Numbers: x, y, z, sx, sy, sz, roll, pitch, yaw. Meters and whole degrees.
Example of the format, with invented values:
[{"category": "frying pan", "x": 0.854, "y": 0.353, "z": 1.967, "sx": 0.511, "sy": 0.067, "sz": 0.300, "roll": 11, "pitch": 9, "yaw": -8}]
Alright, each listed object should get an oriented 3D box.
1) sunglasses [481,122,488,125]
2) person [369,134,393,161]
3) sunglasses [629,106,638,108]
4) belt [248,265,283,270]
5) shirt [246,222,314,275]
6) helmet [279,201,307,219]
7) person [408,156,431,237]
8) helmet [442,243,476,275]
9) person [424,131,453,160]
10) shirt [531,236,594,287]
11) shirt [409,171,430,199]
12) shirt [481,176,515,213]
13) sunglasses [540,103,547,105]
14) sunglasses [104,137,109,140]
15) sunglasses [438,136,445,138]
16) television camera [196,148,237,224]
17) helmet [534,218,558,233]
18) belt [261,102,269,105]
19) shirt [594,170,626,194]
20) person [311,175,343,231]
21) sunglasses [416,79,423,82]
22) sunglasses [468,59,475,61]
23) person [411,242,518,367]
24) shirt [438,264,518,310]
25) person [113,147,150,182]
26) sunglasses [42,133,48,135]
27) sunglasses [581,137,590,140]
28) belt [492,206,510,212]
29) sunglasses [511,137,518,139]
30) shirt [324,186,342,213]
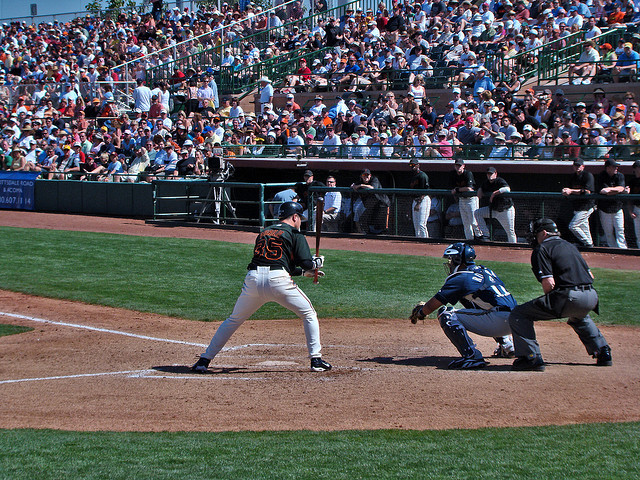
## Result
[{"category": "sunglasses", "x": 4.158, "y": -2.952, "z": 28.468, "sx": 0.152, "sy": 0.027, "sz": 0.131, "roll": 1, "pitch": 0, "yaw": -4}, {"category": "person", "x": 1.595, "y": -2.435, "z": 29.487, "sx": 0.546, "sy": 0.720, "sz": 0.547, "roll": -2, "pitch": -2, "yaw": -5}, {"category": "sunglasses", "x": 7.459, "y": -3.171, "z": 26.835, "sx": 0.158, "sy": 0.059, "sz": 0.188, "roll": -2, "pitch": -2, "yaw": 14}, {"category": "belt", "x": -0.838, "y": 0.427, "z": 17.837, "sx": 0.505, "sy": 0.071, "sz": 0.101, "roll": -1, "pitch": -2, "yaw": -2}, {"category": "shirt", "x": -0.628, "y": 0.127, "z": 17.958, "sx": 1.016, "sy": 0.832, "sz": 0.292, "roll": -2, "pitch": -2, "yaw": -1}, {"category": "helmet", "x": -0.471, "y": -0.482, "z": 18.253, "sx": 0.374, "sy": 0.282, "sz": 0.449, "roll": -1, "pitch": -2, "yaw": -4}, {"category": "person", "x": 2.473, "y": -1.027, "z": 27.466, "sx": 0.588, "sy": 1.888, "sz": 0.471, "roll": -3, "pitch": -2, "yaw": 17}, {"category": "helmet", "x": 2.322, "y": 0.301, "z": 18.396, "sx": 0.594, "sy": 0.433, "sz": 0.447, "roll": -5, "pitch": 1, "yaw": 18}, {"category": "person", "x": 3.033, "y": -2.397, "z": 28.576, "sx": 0.746, "sy": 0.733, "sz": 0.463, "roll": -2, "pitch": -2, "yaw": 22}, {"category": "shirt", "x": 3.837, "y": 0.333, "z": 17.892, "sx": 0.936, "sy": 0.805, "sz": 0.223, "roll": -1, "pitch": -2, "yaw": -7}, {"category": "shirt", "x": 2.449, "y": -1.349, "z": 27.566, "sx": 0.527, "sy": 0.690, "sz": 0.846, "roll": 5, "pitch": -2, "yaw": -8}, {"category": "shirt", "x": 4.141, "y": -1.053, "z": 26.402, "sx": 0.728, "sy": 0.813, "sz": 0.274, "roll": -4, "pitch": -2, "yaw": 43}, {"category": "sunglasses", "x": 5.517, "y": -3.375, "z": 27.928, "sx": 0.146, "sy": 0.045, "sz": 0.038, "roll": -3, "pitch": -2, "yaw": 44}, {"category": "sunglasses", "x": -6.416, "y": -3.057, "z": 33.905, "sx": 0.041, "sy": 0.037, "sz": 0.180, "roll": 0, "pitch": -2, "yaw": -37}, {"category": "sunglasses", "x": 3.068, "y": -2.614, "z": 28.502, "sx": 0.045, "sy": 0.040, "sz": 0.185, "roll": 0, "pitch": -2, "yaw": -44}, {"category": "television camera", "x": -2.797, "y": -1.447, "z": 30.363, "sx": 1.220, "sy": 1.846, "sz": 0.902, "roll": 2, "pitch": 18, "yaw": -3}, {"category": "helmet", "x": 3.621, "y": -0.231, "z": 18.070, "sx": 0.356, "sy": 0.223, "sz": 0.192, "roll": -2, "pitch": -2, "yaw": 9}, {"category": "belt", "x": -1.743, "y": -4.307, "z": 35.531, "sx": 0.305, "sy": 0.061, "sz": 0.078, "roll": -3, "pitch": -2, "yaw": 38}, {"category": "shirt", "x": 6.559, "y": -1.316, "z": 25.394, "sx": 0.643, "sy": 0.552, "sz": 0.370, "roll": 8, "pitch": -3, "yaw": 33}, {"category": "person", "x": 0.102, "y": -0.887, "z": 28.385, "sx": 0.990, "sy": 1.351, "sz": 0.763, "roll": -8, "pitch": 16, "yaw": -35}, {"category": "sunglasses", "x": 2.830, "y": -4.508, "z": 31.811, "sx": 0.039, "sy": 0.036, "sz": 0.165, "roll": -3, "pitch": -3, "yaw": 44}, {"category": "sunglasses", "x": 4.220, "y": -5.014, "z": 31.391, "sx": 0.186, "sy": 0.054, "sz": 0.017, "roll": -3, "pitch": -2, "yaw": 42}, {"category": "person", "x": 2.400, "y": 1.047, "z": 18.225, "sx": 1.549, "sy": 1.996, "sz": 0.536, "roll": -2, "pitch": -2, "yaw": 1}, {"category": "shirt", "x": 2.529, "y": 0.752, "z": 18.231, "sx": 1.288, "sy": 0.731, "sz": 0.465, "roll": -1, "pitch": -2, "yaw": -1}, {"category": "person", "x": -5.393, "y": -2.163, "z": 32.477, "sx": 1.002, "sy": 1.015, "sz": 0.608, "roll": -2, "pitch": -2, "yaw": -4}, {"category": "sunglasses", "x": -8.562, "y": -3.319, "z": 35.226, "sx": 0.123, "sy": 0.096, "sz": 0.032, "roll": 1, "pitch": 12, "yaw": 7}, {"category": "sunglasses", "x": 6.234, "y": -2.386, "z": 26.479, "sx": 0.034, "sy": 0.070, "sz": 0.257, "roll": -1, "pitch": -2, "yaw": -24}, {"category": "belt", "x": 4.215, "y": -0.709, "z": 26.318, "sx": 0.394, "sy": 0.100, "sz": 0.055, "roll": -3, "pitch": -2, "yaw": 34}, {"category": "sunglasses", "x": 4.724, "y": -2.468, "z": 27.284, "sx": 0.141, "sy": 0.036, "sz": 0.031, "roll": -3, "pitch": -2, "yaw": 40}, {"category": "shirt", "x": 0.334, "y": -1.034, "z": 28.246, "sx": 0.676, "sy": 0.526, "sz": 0.354, "roll": 11, "pitch": 23, "yaw": 30}]
